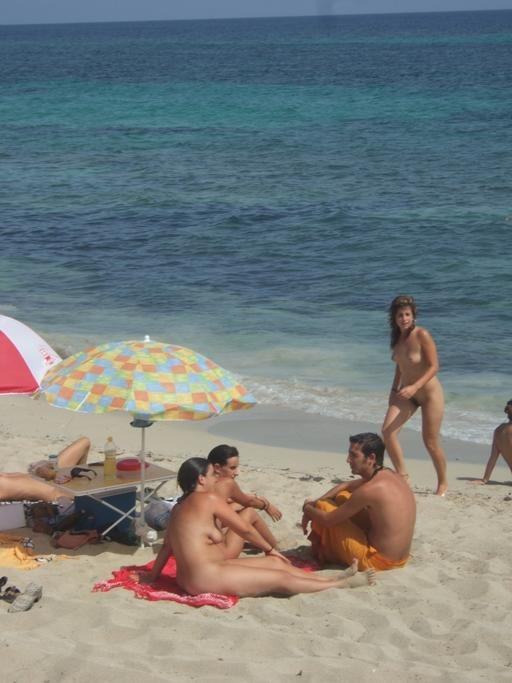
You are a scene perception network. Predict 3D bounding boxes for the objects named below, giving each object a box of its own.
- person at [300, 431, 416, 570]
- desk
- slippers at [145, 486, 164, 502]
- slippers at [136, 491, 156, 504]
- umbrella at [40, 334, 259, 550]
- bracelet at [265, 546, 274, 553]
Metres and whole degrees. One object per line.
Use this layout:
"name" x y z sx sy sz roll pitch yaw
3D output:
"person" 0.671 1.083 5.998 0.844 0.801 0.664 2 0 34
"desk" -1.002 1.182 6.628 0.706 0.360 0.690 8 12 35
"slippers" -0.801 1.180 6.908 0.149 0.120 0.033 -2 -5 -23
"slippers" -0.817 1.208 6.889 0.181 0.034 0.154 3 5 -18
"umbrella" -0.729 0.445 5.963 0.957 0.701 0.884 -1 8 -19
"bracelet" 0.089 1.345 5.787 0.046 0.038 0.043 -1 3 -20
